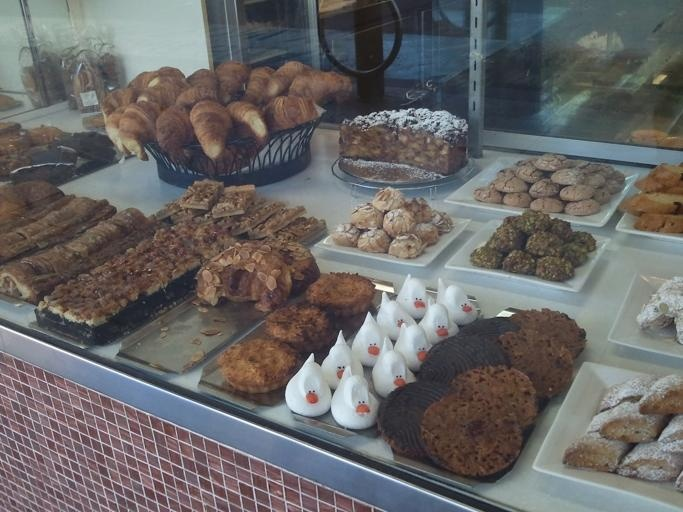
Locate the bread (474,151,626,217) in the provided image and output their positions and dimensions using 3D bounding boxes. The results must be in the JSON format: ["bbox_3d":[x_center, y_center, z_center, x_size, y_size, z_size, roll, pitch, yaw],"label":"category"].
[{"bbox_3d":[0.425,-0.177,1.200,0.215,0.053,0.199,10,32,30],"label":"bread"}]

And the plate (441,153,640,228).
[{"bbox_3d":[0.407,-0.144,1.219,0.265,0.065,0.253,10,30,27],"label":"plate"}]

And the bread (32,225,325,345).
[{"bbox_3d":[-0.309,0.008,1.193,0.227,0.063,0.527,26,43,38],"label":"bread"}]

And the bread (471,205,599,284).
[{"bbox_3d":[0.353,-0.020,1.065,0.187,0.067,0.157,11,36,29],"label":"bread"}]

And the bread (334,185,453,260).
[{"bbox_3d":[0.107,-0.051,1.183,0.207,0.074,0.175,13,39,25],"label":"bread"}]

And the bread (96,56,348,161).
[{"bbox_3d":[-0.268,-0.378,1.432,0.567,0.214,0.225,-26,39,-33],"label":"bread"}]

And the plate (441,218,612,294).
[{"bbox_3d":[0.352,-0.008,1.101,0.248,0.042,0.188,12,33,24],"label":"plate"}]
